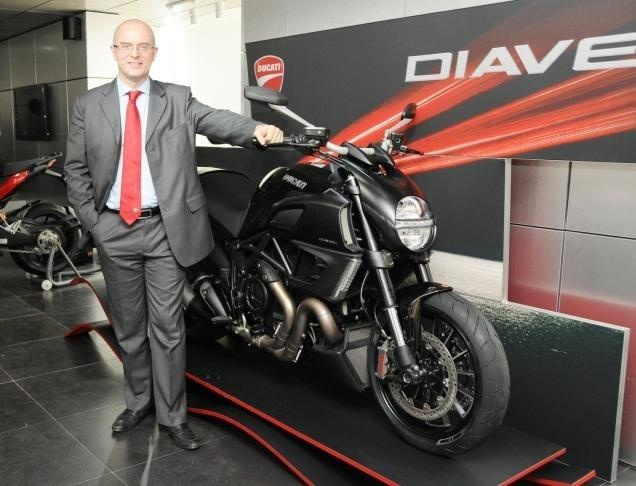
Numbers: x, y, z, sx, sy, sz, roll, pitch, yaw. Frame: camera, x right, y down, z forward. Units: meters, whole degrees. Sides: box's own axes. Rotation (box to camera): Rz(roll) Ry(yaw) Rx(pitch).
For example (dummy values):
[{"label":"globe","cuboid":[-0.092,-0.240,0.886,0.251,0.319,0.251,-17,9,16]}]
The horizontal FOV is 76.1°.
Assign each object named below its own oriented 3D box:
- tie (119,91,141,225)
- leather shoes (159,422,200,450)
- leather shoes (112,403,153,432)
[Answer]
[{"label":"tie","cuboid":[-0.793,-0.363,1.720,0.105,0.565,0.088,-6,11,-40]},{"label":"leather shoes","cuboid":[-0.645,0.877,1.916,0.209,0.086,0.078,21,15,32]},{"label":"leather shoes","cuboid":[-0.922,0.864,2.044,0.077,0.080,0.212,7,11,28]}]
